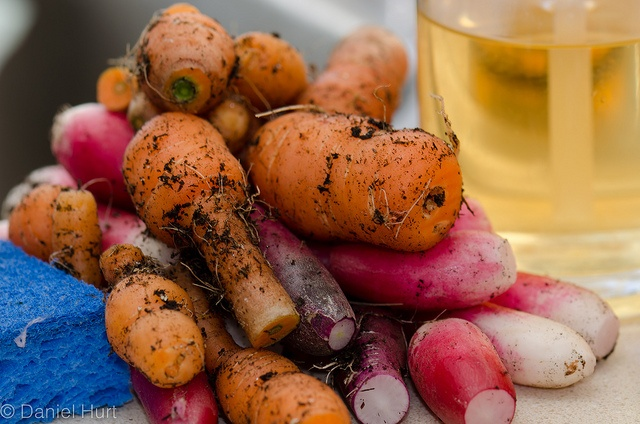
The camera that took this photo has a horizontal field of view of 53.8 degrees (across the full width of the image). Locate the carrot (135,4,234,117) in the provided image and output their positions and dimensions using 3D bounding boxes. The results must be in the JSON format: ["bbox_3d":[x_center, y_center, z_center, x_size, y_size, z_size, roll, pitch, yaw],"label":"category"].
[{"bbox_3d":[-0.201,-0.220,0.946,0.144,0.126,0.089,-9,35,-7],"label":"carrot"}]

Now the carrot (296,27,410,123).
[{"bbox_3d":[0.065,-0.242,1.167,0.123,0.119,0.269,7,35,20],"label":"carrot"}]

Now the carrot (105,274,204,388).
[{"bbox_3d":[-0.221,0.149,0.828,0.093,0.081,0.163,-31,42,-6],"label":"carrot"}]

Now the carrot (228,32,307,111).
[{"bbox_3d":[-0.086,-0.224,1.007,0.092,0.104,0.129,-5,12,-1],"label":"carrot"}]

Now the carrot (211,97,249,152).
[{"bbox_3d":[-0.137,-0.133,0.986,0.069,0.073,0.040,-3,-2,-36],"label":"carrot"}]

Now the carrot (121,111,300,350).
[{"bbox_3d":[-0.159,0.020,0.944,0.171,0.146,0.364,-22,58,-26],"label":"carrot"}]

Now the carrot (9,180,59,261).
[{"bbox_3d":[-0.446,0.016,1.045,0.084,0.119,0.064,11,1,28],"label":"carrot"}]

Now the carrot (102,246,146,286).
[{"bbox_3d":[-0.270,0.063,0.896,0.060,0.050,0.045,-27,12,-8],"label":"carrot"}]

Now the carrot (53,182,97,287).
[{"bbox_3d":[-0.357,0.032,0.971,0.061,0.146,0.051,2,13,35],"label":"carrot"}]
